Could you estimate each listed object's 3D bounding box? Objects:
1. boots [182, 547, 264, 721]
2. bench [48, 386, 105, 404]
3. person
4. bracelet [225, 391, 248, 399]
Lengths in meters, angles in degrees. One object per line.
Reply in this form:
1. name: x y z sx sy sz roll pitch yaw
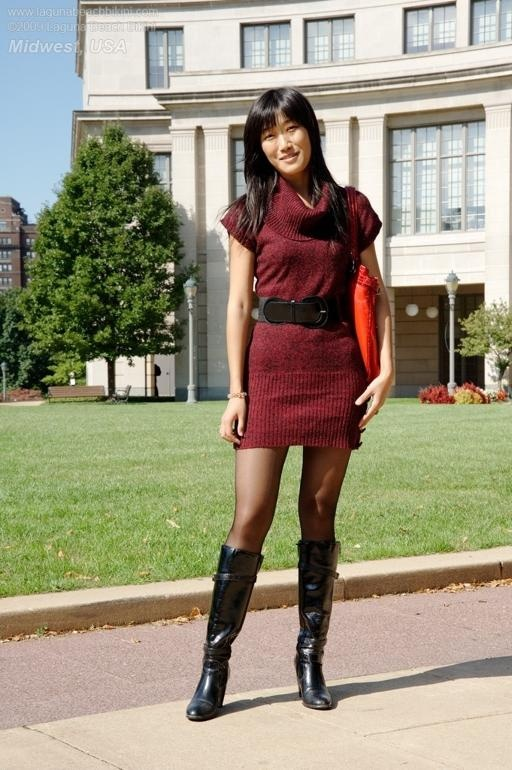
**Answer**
1. boots: -0.114 0.797 3.038 0.167 0.535 0.345 0 1 26
2. bench: -7.659 0.420 40.294 2.213 0.636 4.210 -1 2 -23
3. person: 0.113 0.031 3.164 0.773 2.075 0.425 0 1 -14
4. bracelet: -0.065 0.039 3.135 0.061 0.032 0.103 0 2 -5
